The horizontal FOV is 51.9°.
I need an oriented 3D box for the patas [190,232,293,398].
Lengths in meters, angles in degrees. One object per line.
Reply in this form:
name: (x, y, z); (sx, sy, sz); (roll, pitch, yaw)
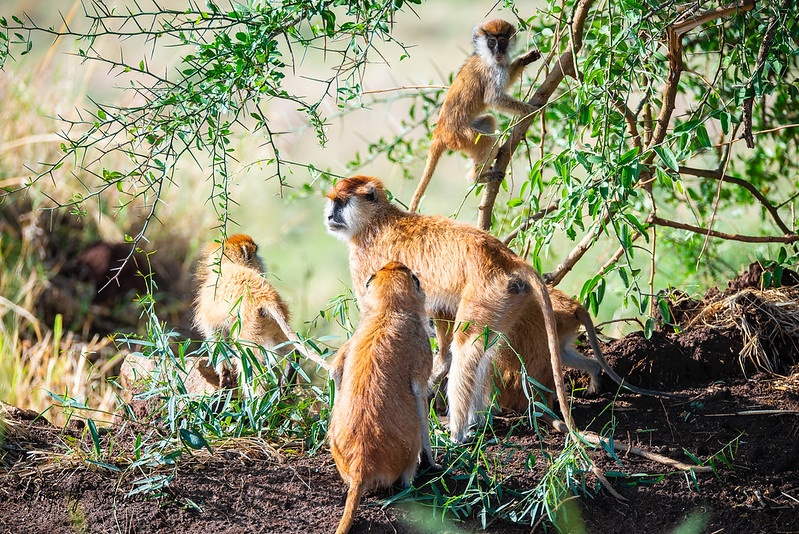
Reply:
patas: (-1.411, 0.270, 7.488); (0.588, 0.963, 2.172); (-1, 27, -12)

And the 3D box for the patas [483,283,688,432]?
patas: (1.425, 0.610, 6.911); (0.643, 0.996, 2.325); (4, -8, -31)

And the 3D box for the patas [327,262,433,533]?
patas: (-0.082, 0.892, 6.159); (0.592, 1.945, 0.835); (-1, -29, 23)
